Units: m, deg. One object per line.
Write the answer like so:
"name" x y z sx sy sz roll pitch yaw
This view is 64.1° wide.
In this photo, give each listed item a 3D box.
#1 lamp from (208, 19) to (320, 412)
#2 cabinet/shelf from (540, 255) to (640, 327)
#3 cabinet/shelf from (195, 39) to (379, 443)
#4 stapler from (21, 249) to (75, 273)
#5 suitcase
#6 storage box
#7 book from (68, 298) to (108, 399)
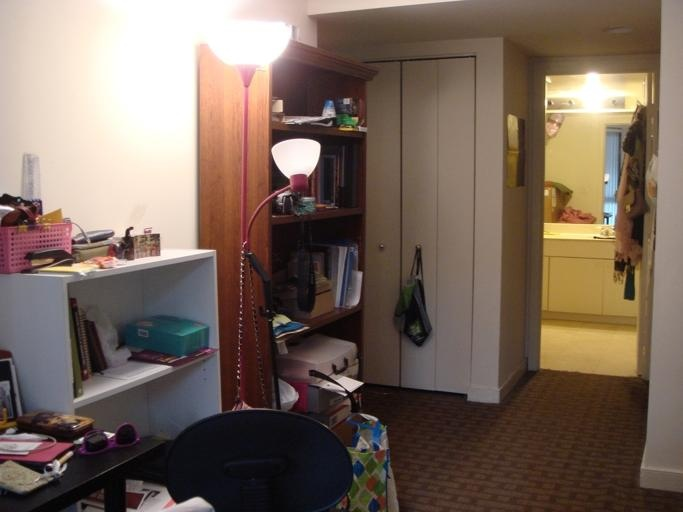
"lamp" -0.324 -0.099 2.397 0.442 1.849 0.551 -2 10 -14
"cabinet/shelf" 2.975 0.272 6.493 1.082 0.950 0.595 3 7 35
"cabinet/shelf" -0.267 -0.383 3.003 0.361 1.473 0.848 27 35 34
"stapler" -0.941 0.009 1.758 0.051 0.066 0.159 7 14 36
"suitcase" -0.162 0.544 3.083 0.279 0.082 0.294 3 6 26
"storage box" -0.705 0.319 2.210 0.228 0.083 0.173 6 5 30
"book" -0.902 0.311 1.915 0.078 0.274 0.187 -8 9 -33
